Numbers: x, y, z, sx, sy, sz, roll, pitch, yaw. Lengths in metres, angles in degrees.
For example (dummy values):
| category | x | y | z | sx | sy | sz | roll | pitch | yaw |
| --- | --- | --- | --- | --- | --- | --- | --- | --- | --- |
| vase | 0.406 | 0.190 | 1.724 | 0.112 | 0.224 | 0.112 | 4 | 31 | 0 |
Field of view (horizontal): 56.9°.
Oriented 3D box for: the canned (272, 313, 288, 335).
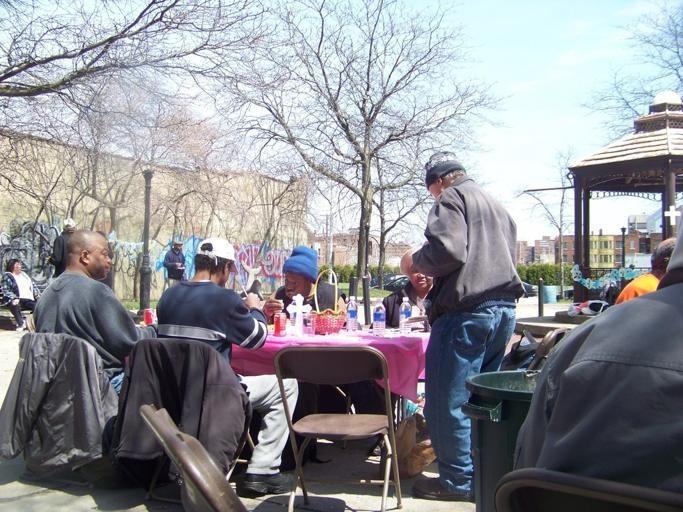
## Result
| category | x | y | z | sx | sy | sz | roll | pitch | yaw |
| --- | --- | --- | --- | --- | --- | --- | --- | --- | --- |
| canned | -0.500 | 0.564 | 5.259 | 0.128 | 0.250 | 0.136 | 0 | 1 | -24 |

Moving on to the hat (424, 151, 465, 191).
| category | x | y | z | sx | sy | sz | roll | pitch | yaw |
| --- | --- | --- | --- | --- | --- | --- | --- | --- | --- |
| hat | 0.759 | -0.661 | 4.630 | 0.292 | 0.293 | 0.240 | -11 | -5 | 24 |

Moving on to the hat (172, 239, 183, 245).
| category | x | y | z | sx | sy | sz | roll | pitch | yaw |
| --- | --- | --- | --- | --- | --- | --- | --- | --- | --- |
| hat | -5.142 | -0.466 | 19.839 | 0.399 | 0.211 | 0.588 | 4 | -3 | -26 |

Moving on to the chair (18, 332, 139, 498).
| category | x | y | z | sx | sy | sz | roll | pitch | yaw |
| --- | --- | --- | --- | --- | --- | --- | --- | --- | --- |
| chair | -1.808 | 1.074 | 4.333 | 0.925 | 1.038 | 0.605 | 4 | 4 | 17 |

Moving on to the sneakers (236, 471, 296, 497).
| category | x | y | z | sx | sy | sz | roll | pitch | yaw |
| --- | --- | --- | --- | --- | --- | --- | --- | --- | --- |
| sneakers | -0.537 | 1.637 | 4.605 | 0.443 | 0.233 | 0.206 | 3 | -4 | -25 |

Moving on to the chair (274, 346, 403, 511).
| category | x | y | z | sx | sy | sz | roll | pitch | yaw |
| --- | --- | --- | --- | --- | --- | --- | --- | --- | --- |
| chair | -0.005 | 1.152 | 4.294 | 0.866 | 1.147 | 0.778 | 1 | -2 | 0 |

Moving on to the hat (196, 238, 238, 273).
| category | x | y | z | sx | sy | sz | roll | pitch | yaw |
| --- | --- | --- | --- | --- | --- | --- | --- | --- | --- |
| hat | -0.888 | -0.014 | 4.608 | 0.184 | 0.147 | 0.263 | 4 | 8 | 1 |

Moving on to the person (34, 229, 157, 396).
| category | x | y | z | sx | sy | sz | roll | pitch | yaw |
| --- | --- | --- | --- | --- | --- | --- | --- | --- | --- |
| person | -1.859 | 0.450 | 4.855 | 0.807 | 1.322 | 0.839 | -1 | 3 | 0 |

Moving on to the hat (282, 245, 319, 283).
| category | x | y | z | sx | sy | sz | roll | pitch | yaw |
| --- | --- | --- | --- | --- | --- | --- | --- | --- | --- |
| hat | -0.369 | 0.074 | 6.107 | 0.327 | 0.388 | 0.380 | 11 | -7 | -2 |

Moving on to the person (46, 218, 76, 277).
| category | x | y | z | sx | sy | sz | roll | pitch | yaw |
| --- | --- | --- | --- | --- | --- | --- | --- | --- | --- |
| person | -4.816 | -0.199 | 10.758 | 0.321 | 1.110 | 0.438 | 11 | 37 | -29 |

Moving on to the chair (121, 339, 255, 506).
| category | x | y | z | sx | sy | sz | roll | pitch | yaw |
| --- | --- | --- | --- | --- | --- | --- | --- | --- | --- |
| chair | -1.123 | 0.976 | 4.304 | 0.895 | 0.985 | 0.539 | 7 | 8 | 1 |

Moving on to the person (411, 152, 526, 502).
| category | x | y | z | sx | sy | sz | roll | pitch | yaw |
| --- | --- | --- | --- | --- | --- | --- | --- | --- | --- |
| person | 0.844 | 0.419 | 4.282 | 0.725 | 2.331 | 0.484 | 1 | -2 | 1 |
